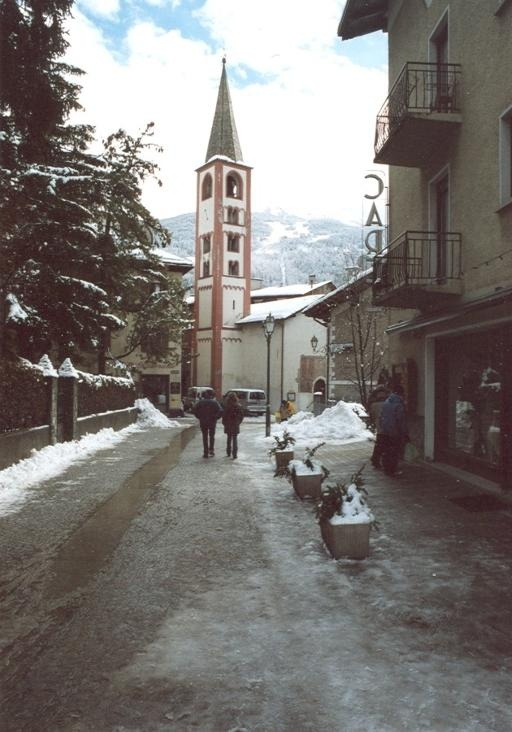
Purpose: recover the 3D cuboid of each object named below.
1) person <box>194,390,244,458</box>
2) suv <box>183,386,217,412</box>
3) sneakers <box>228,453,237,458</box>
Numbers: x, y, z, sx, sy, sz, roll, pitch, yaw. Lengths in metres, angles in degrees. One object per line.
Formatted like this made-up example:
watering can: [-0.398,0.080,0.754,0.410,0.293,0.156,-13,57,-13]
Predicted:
person: [-0.891,1.420,16.464,1.321,2.282,0.783,1,-8,-7]
suv: [-3.528,2.532,43.786,1.797,2.370,3.328,1,1,-10]
sneakers: [-0.464,1.797,14.127,0.092,0.106,0.156,-3,-10,44]
